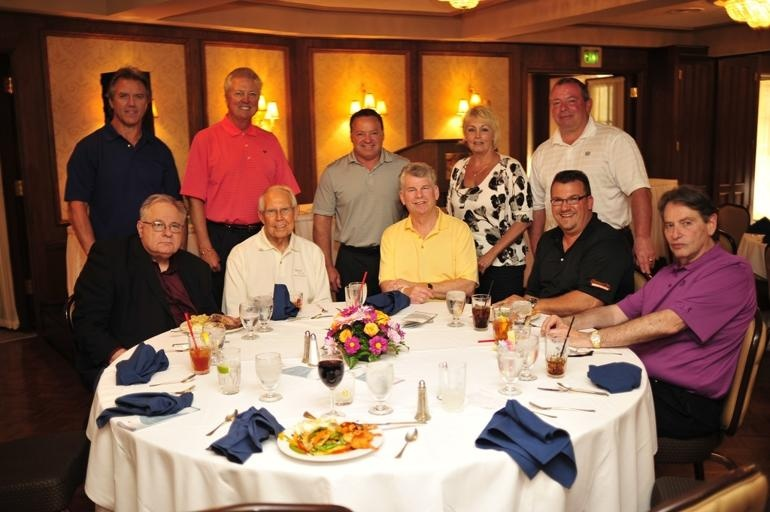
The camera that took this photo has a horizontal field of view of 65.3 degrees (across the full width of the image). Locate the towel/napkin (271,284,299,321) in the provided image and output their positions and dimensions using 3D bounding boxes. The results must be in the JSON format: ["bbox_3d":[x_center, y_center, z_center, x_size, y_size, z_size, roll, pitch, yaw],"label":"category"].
[{"bbox_3d":[-0.590,0.264,3.541,0.145,0.195,0.075,4,-3,-3],"label":"towel/napkin"}]

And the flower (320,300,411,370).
[{"bbox_3d":[-0.097,0.349,2.860,0.309,0.215,0.308,-15,29,-38],"label":"flower"}]

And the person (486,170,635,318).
[{"bbox_3d":[1.215,-0.081,4.073,0.997,0.888,0.760,-4,3,-44],"label":"person"}]

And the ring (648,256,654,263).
[{"bbox_3d":[1.873,0.024,4.210,0.035,0.041,0.046,-4,5,-21],"label":"ring"}]

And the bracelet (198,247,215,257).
[{"bbox_3d":[-1.306,-0.032,4.418,0.085,0.084,0.086,-12,8,-18],"label":"bracelet"}]

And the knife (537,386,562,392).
[{"bbox_3d":[0.726,0.588,2.644,0.095,0.006,0.032,-2,26,3],"label":"knife"}]

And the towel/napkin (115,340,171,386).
[{"bbox_3d":[-1.138,0.517,2.815,0.192,0.068,0.195,-11,30,-19],"label":"towel/napkin"}]

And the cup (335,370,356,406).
[{"bbox_3d":[-0.166,0.563,2.563,0.113,0.137,0.126,0,3,-3],"label":"cup"}]

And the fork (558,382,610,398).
[{"bbox_3d":[0.875,0.587,2.623,0.290,0.044,0.044,0,21,23],"label":"fork"}]

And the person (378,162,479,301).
[{"bbox_3d":[0.284,-0.167,4.030,0.682,0.887,0.504,1,9,9],"label":"person"}]

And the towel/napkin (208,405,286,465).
[{"bbox_3d":[-0.529,0.691,2.328,0.262,0.130,0.180,-8,12,-40],"label":"towel/napkin"}]

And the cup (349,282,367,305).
[{"bbox_3d":[-0.159,0.208,3.339,0.114,0.132,0.115,0,4,0],"label":"cup"}]

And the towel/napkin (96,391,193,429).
[{"bbox_3d":[-1.009,0.634,2.537,0.263,0.080,0.188,0,-2,-25],"label":"towel/napkin"}]

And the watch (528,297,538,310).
[{"bbox_3d":[0.909,0.281,3.647,0.073,0.084,0.095,1,-23,17],"label":"watch"}]

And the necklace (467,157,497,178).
[{"bbox_3d":[0.724,-0.661,4.509,0.148,0.103,0.194,-5,26,15],"label":"necklace"}]

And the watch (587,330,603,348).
[{"bbox_3d":[1.066,0.423,3.042,0.052,0.069,0.072,-3,29,7],"label":"watch"}]

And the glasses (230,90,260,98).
[{"bbox_3d":[-1.018,-1.178,4.407,0.202,0.046,0.072,-6,10,-29],"label":"glasses"}]

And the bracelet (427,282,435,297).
[{"bbox_3d":[0.301,0.210,3.935,0.020,0.068,0.047,-4,11,-44],"label":"bracelet"}]

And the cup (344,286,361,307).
[{"bbox_3d":[-0.174,0.229,3.351,0.104,0.122,0.104,0,1,0],"label":"cup"}]

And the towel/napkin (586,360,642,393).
[{"bbox_3d":[1.009,0.519,2.643,0.149,0.036,0.140,1,15,40],"label":"towel/napkin"}]
